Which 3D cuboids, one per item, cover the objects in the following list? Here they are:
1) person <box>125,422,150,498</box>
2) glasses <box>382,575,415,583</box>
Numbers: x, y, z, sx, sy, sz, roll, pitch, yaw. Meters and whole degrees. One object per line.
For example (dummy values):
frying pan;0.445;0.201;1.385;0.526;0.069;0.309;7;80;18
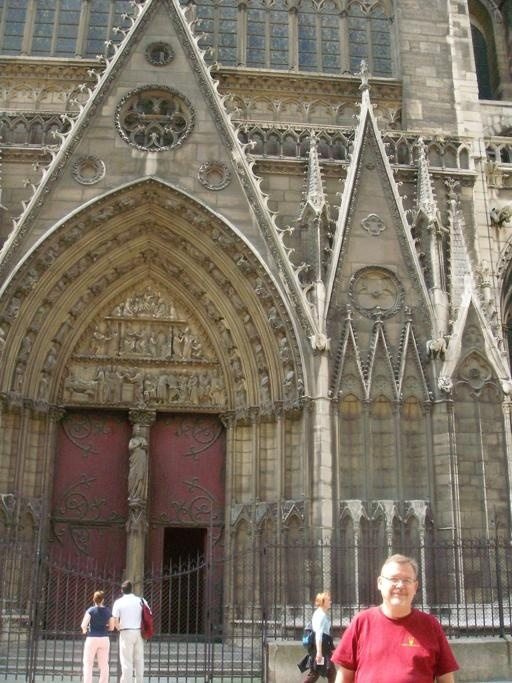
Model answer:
person;-2.337;2.447;16.734;0.379;1.697;0.406;0;-22;-6
glasses;0.647;1.094;3.829;0.124;0.038;0.039;-3;-21;3
